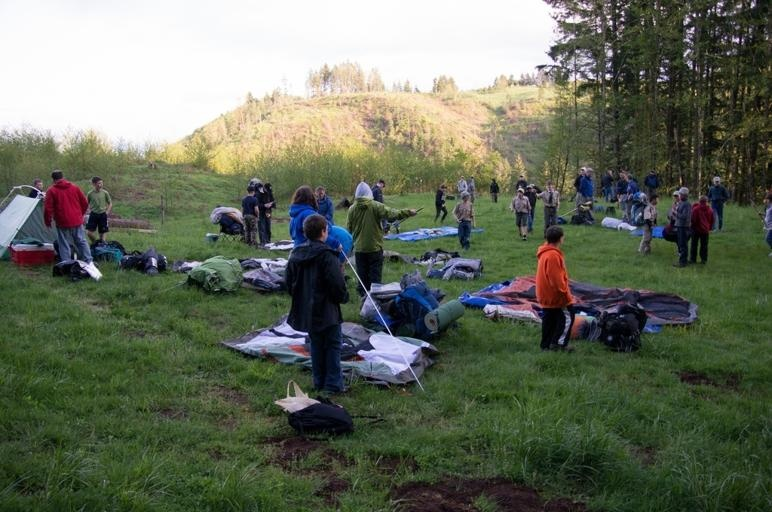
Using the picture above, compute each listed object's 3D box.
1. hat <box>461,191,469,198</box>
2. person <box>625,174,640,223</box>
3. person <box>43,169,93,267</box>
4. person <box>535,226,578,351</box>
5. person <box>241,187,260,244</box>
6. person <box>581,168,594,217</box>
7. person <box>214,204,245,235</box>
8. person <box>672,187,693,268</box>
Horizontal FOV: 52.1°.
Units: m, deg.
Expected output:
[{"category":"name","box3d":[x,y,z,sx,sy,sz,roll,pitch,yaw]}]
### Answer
[{"category":"hat","box3d":[2.676,-2.016,26.268,0.279,0.261,0.246,-5,18,-13]},{"category":"person","box3d":[9.481,-2.189,30.706,0.561,2.038,0.654,-3,7,-9]},{"category":"person","box3d":[-9.102,-1.142,22.765,1.211,2.643,1.021,-3,8,-23]},{"category":"person","box3d":[4.212,0.771,19.668,0.918,3.078,1.089,2,7,14]},{"category":"person","box3d":[-4.612,-1.411,27.160,0.477,2.077,0.477,-1,7,-8]},{"category":"person","box3d":[8.052,-2.679,31.878,0.582,1.774,1.110,2,8,14]},{"category":"person","box3d":[-5.501,-1.263,27.651,0.847,0.525,1.080,-1,9,-20]},{"category":"person","box3d":[9.316,-0.940,24.945,0.496,2.442,0.976,3,8,20]}]
